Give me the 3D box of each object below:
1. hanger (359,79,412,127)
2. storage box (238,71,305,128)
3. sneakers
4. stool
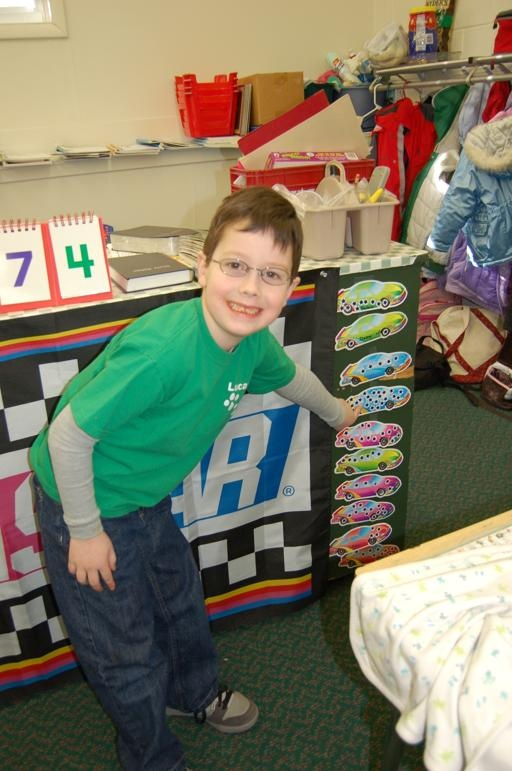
[{"bbox_3d":[0.708,-1.581,3.067,0.269,0.205,0.259,-8,-8,13],"label":"hanger"},{"bbox_3d":[0.080,-1.469,2.827,0.328,0.242,0.237,-3,23,6],"label":"storage box"},{"bbox_3d":[-0.090,0.689,1.192,0.196,0.077,0.083,2,63,8],"label":"sneakers"},{"bbox_3d":[-0.270,-1.472,2.901,0.275,0.286,0.398,-5,21,-10],"label":"stool"}]
